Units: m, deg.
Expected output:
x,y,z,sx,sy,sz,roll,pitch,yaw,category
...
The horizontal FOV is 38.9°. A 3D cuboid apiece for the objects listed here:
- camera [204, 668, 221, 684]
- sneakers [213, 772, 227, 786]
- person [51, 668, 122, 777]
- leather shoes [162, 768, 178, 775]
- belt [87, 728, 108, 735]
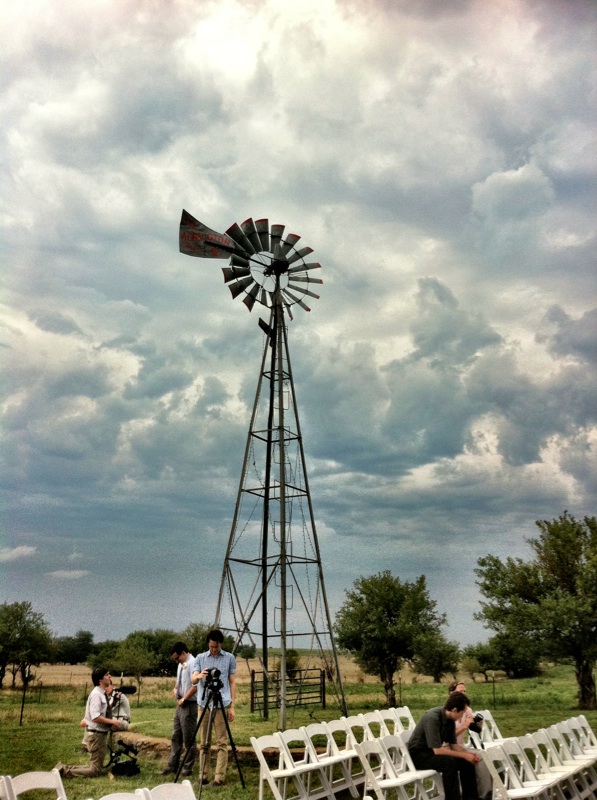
x,y,z,sx,sy,sz,roll,pitch,yaw,category
-1.457,4.586,13.998,0.300,0.249,0.253,-2,-14,1,camera
-1.443,6.738,15.029,0.166,0.189,0.232,3,-15,-18,sneakers
-3.702,6.044,15.468,1.420,2.074,1.070,6,-18,-36,person
-2.419,6.855,15.580,0.178,0.050,0.173,11,-23,-30,leather shoes
-3.673,5.992,15.334,0.374,0.149,0.276,1,-14,-14,belt
